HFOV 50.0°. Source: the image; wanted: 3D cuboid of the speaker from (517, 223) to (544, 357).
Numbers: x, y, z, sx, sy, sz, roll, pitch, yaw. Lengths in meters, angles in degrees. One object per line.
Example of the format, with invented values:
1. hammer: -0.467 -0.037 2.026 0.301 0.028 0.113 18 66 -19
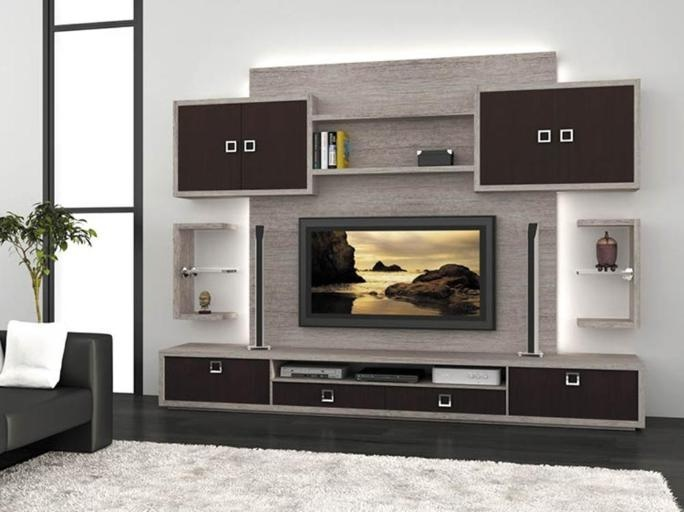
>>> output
1. speaker: 1.546 0.263 5.958 0.189 1.067 0.361 1 7 16

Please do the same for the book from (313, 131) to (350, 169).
1. book: -0.072 -0.847 6.300 0.285 0.369 0.391 0 -1 19

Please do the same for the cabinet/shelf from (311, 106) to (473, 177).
1. cabinet/shelf: 0.442 -0.933 6.157 1.329 0.503 0.307 1 6 9

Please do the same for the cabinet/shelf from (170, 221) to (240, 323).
1. cabinet/shelf: -1.215 0.146 6.477 0.518 0.886 0.408 0 6 2

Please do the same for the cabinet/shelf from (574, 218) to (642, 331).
1. cabinet/shelf: 2.131 0.129 5.916 0.536 0.871 0.306 0 1 21
